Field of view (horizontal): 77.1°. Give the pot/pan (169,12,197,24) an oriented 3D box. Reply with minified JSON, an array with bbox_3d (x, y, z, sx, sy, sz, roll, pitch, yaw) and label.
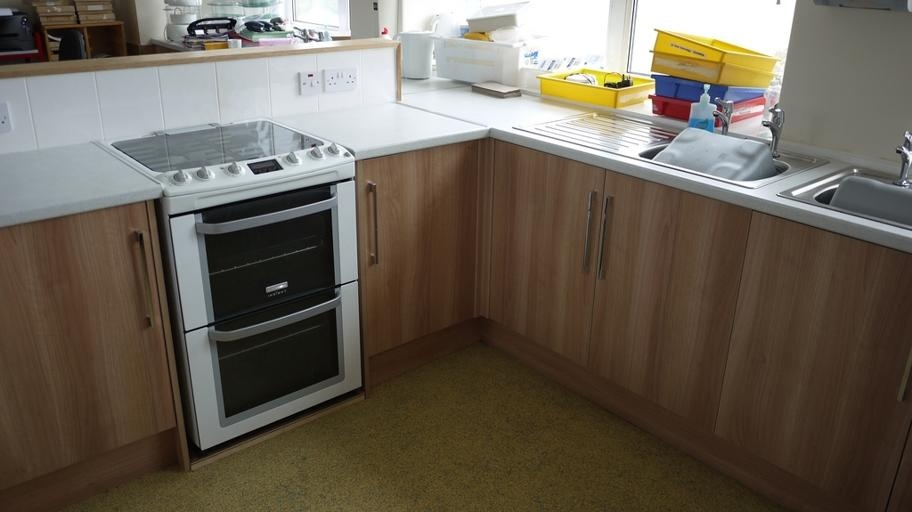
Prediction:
[{"bbox_3d":[-2.911,-2.533,6.120,0.280,0.113,0.202,-10,27,-20],"label":"pot/pan"}]

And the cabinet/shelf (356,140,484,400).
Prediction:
[{"bbox_3d":[-0.176,0.015,3.113,0.914,1.182,0.224,-17,32,-29],"label":"cabinet/shelf"}]

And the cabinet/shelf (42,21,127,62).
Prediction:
[{"bbox_3d":[-3.920,-2.344,6.196,0.378,0.354,0.883,14,29,28],"label":"cabinet/shelf"}]

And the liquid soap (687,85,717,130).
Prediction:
[{"bbox_3d":[1.295,-0.771,2.974,0.138,0.273,0.065,8,45,22],"label":"liquid soap"}]

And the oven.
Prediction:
[{"bbox_3d":[-1.168,0.210,3.011,0.988,1.211,1.010,9,17,31],"label":"oven"}]

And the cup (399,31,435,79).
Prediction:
[{"bbox_3d":[-0.274,-1.433,4.091,0.239,0.311,0.165,-4,27,-7],"label":"cup"}]

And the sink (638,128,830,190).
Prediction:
[{"bbox_3d":[1.325,-0.479,2.718,0.543,0.198,0.481,-10,27,-25],"label":"sink"}]
